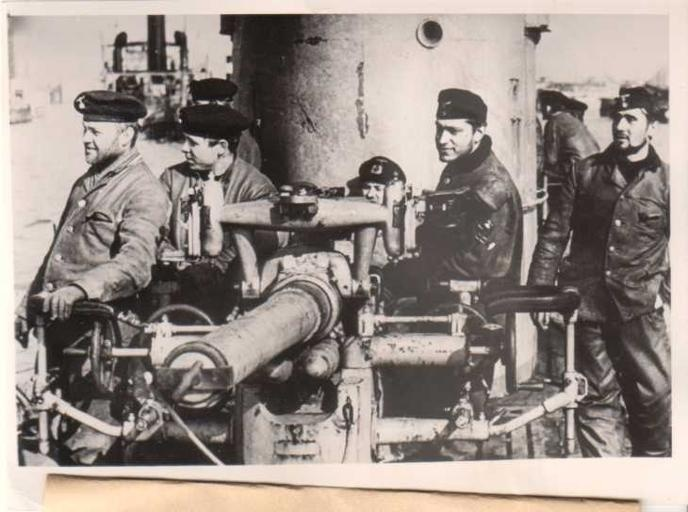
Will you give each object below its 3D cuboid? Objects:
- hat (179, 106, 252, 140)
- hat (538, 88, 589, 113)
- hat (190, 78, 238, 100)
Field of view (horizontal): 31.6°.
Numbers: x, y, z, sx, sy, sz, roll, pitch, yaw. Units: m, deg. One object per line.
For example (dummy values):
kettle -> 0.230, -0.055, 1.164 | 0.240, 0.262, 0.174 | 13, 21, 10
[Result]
hat -> -0.984, -1.003, 9.079 | 0.404, 0.276, 0.127 | 3, -39, -3
hat -> 1.643, -1.166, 9.165 | 0.459, 0.147, 0.175 | 4, 1, 5
hat -> -0.987, -1.243, 9.075 | 0.348, 0.165, 0.047 | 2, 5, -8
